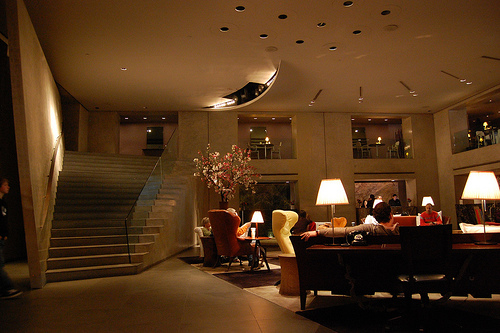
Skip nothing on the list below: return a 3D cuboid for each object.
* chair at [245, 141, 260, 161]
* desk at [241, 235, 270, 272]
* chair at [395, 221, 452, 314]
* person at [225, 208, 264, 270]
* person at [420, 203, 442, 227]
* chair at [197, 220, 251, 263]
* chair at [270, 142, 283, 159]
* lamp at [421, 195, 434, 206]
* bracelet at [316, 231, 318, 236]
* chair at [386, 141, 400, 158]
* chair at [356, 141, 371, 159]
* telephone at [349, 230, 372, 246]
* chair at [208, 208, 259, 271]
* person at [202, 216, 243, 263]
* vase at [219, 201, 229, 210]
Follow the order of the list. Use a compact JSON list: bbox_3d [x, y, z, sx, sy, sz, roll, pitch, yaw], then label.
[{"bbox_3d":[0.098,-0.687,16.017,0.672,1.128,0.700,-1,-3,8],"label":"chair"},{"bbox_3d":[0.172,2.251,9.340,0.832,0.934,0.828,4,-10,-40],"label":"desk"},{"bbox_3d":[2.673,1.510,5.461,0.826,1.307,0.633,-1,-1,15],"label":"chair"},{"bbox_3d":[-0.279,1.955,9.422,0.912,1.401,0.994,8,1,-10],"label":"person"},{"bbox_3d":[5.235,1.427,10.418,0.591,0.682,0.838,-9,0,24],"label":"person"},{"bbox_3d":[-0.701,1.763,10.031,1.347,1.563,1.313,-1,-1,-28],"label":"chair"},{"bbox_3d":[1.152,-0.651,16.188,0.555,0.842,0.542,1,-4,-6],"label":"chair"},{"bbox_3d":[6.755,1.320,13.645,0.508,0.396,0.552,3,-5,-30],"label":"lamp"},{"bbox_3d":[1.160,1.151,6.168,0.049,0.070,0.023,-9,-6,-26],"label":"bracelet"},{"bbox_3d":[6.509,-0.742,16.171,0.370,0.779,0.756,-2,-2,43],"label":"chair"},{"bbox_3d":[5.038,-0.768,15.981,0.655,0.835,0.302,-1,-1,-20],"label":"chair"},{"bbox_3d":[1.783,1.165,5.840,0.358,0.262,0.203,0,-1,2],"label":"telephone"},{"bbox_3d":[-0.507,1.809,9.636,1.329,1.625,1.222,1,-2,-37],"label":"chair"},{"bbox_3d":[-0.623,2.120,9.815,0.851,1.051,0.981,1,-14,5],"label":"person"},{"bbox_3d":[-0.824,1.228,11.254,0.244,0.202,0.253,1,-15,-6],"label":"vase"}]
